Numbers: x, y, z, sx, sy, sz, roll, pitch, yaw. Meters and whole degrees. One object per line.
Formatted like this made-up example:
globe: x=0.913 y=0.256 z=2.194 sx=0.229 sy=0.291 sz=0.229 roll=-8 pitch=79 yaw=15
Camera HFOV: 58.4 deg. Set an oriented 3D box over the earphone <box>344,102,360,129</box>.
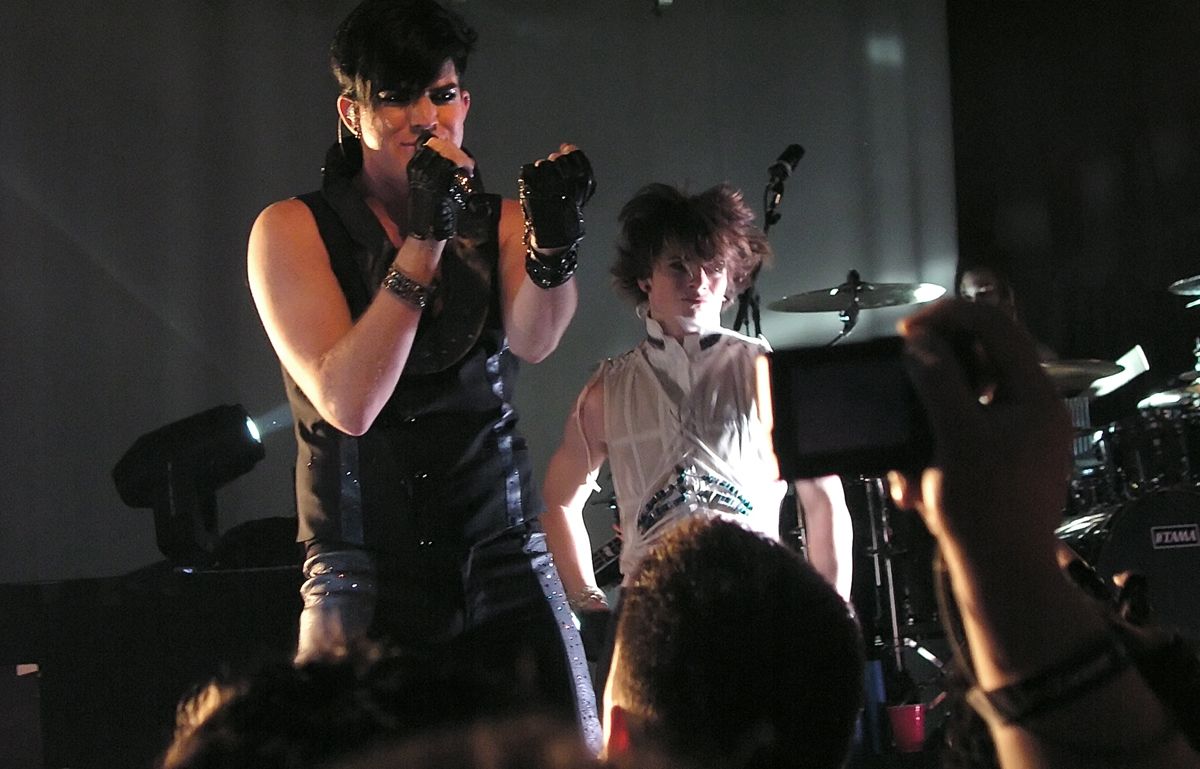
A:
earphone: x=-0.794 y=-0.855 z=3.423 sx=0.028 sy=0.074 sz=0.055 roll=-4 pitch=1 yaw=-44
